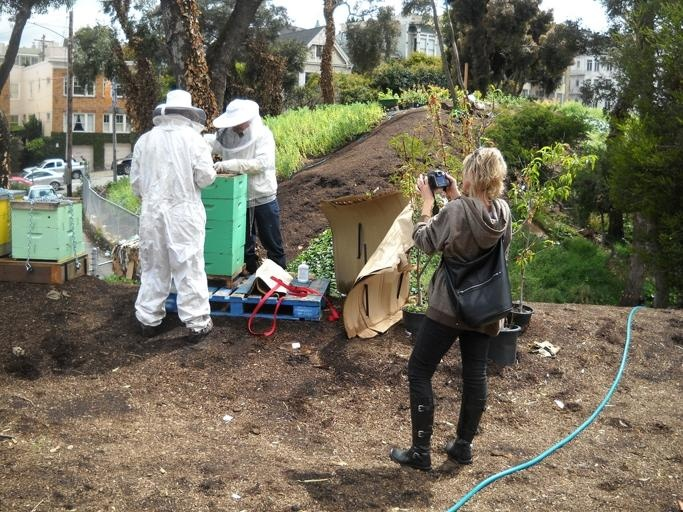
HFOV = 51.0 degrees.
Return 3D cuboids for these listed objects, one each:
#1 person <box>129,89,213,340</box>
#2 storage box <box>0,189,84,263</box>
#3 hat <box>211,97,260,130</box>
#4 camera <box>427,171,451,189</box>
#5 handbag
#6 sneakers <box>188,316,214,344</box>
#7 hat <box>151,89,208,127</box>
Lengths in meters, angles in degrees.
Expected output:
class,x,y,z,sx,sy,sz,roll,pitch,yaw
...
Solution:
class,x,y,z,sx,sy,sz,roll,pitch,yaw
person,-1.991,-0.416,8.466,0.919,2.658,0.419,1,5,-15
storage box,-3.694,-0.385,8.989,0.748,0.830,0.800,0,4,12
hat,-1.353,-1.815,9.156,0.557,0.387,0.335,2,5,-9
camera,0.956,-0.743,6.959,0.208,0.229,0.167,-3,16,-15
handbag,1.236,0.226,6.702,0.552,0.751,0.282,-21,-24,-5
sneakers,-1.681,0.879,8.644,0.140,0.201,0.445,4,18,15
hat,-1.906,-1.751,8.604,0.389,0.333,0.537,-1,-16,-4
